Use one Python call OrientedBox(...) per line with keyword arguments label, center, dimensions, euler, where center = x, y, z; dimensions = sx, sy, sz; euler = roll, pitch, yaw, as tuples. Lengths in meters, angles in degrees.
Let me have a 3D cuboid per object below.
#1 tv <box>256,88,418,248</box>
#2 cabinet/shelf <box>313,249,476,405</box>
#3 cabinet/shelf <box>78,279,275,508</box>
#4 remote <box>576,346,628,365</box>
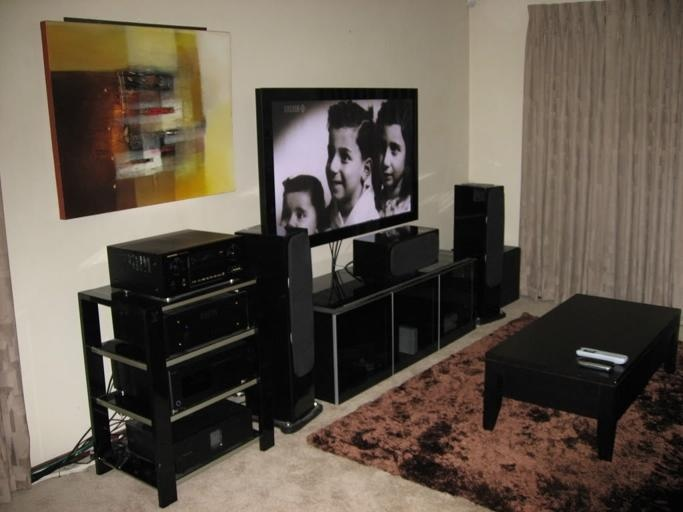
OrientedBox(label="tv", center=(-0.071, -0.659, 4.266), dimensions=(0.119, 0.895, 1.186), euler=(8, 14, 41))
OrientedBox(label="cabinet/shelf", center=(0.400, 0.442, 4.447), dimensions=(1.537, 0.748, 0.529), euler=(-18, 24, -38))
OrientedBox(label="cabinet/shelf", center=(-0.929, 0.763, 3.113), dimensions=(0.579, 1.124, 0.878), euler=(6, 14, 30))
OrientedBox(label="remote", center=(1.489, 0.574, 3.267), dimensions=(0.206, 0.048, 0.112), euler=(5, 10, 33))
